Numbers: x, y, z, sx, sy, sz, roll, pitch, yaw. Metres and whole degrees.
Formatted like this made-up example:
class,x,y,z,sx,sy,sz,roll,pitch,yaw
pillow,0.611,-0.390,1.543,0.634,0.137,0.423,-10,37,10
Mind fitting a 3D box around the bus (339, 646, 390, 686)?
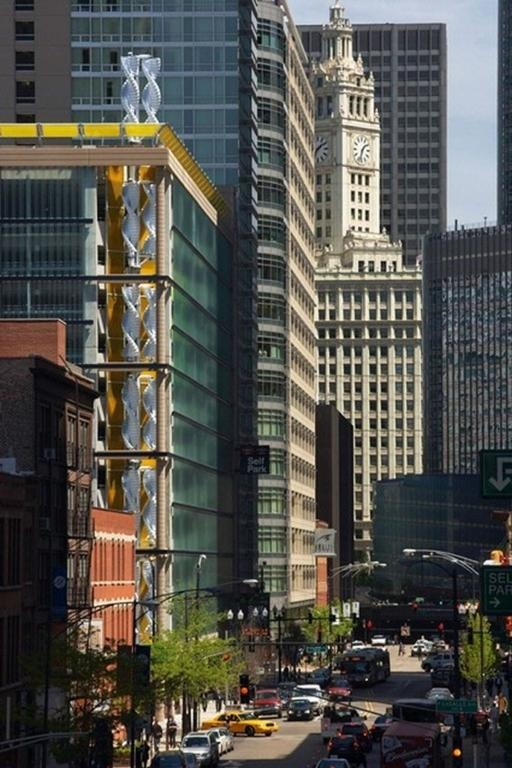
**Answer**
class,x,y,z,sx,sy,sz,roll,pitch,yaw
bus,7.252,19.200,153.019,2.561,3.016,4.533,-4,-14,18
